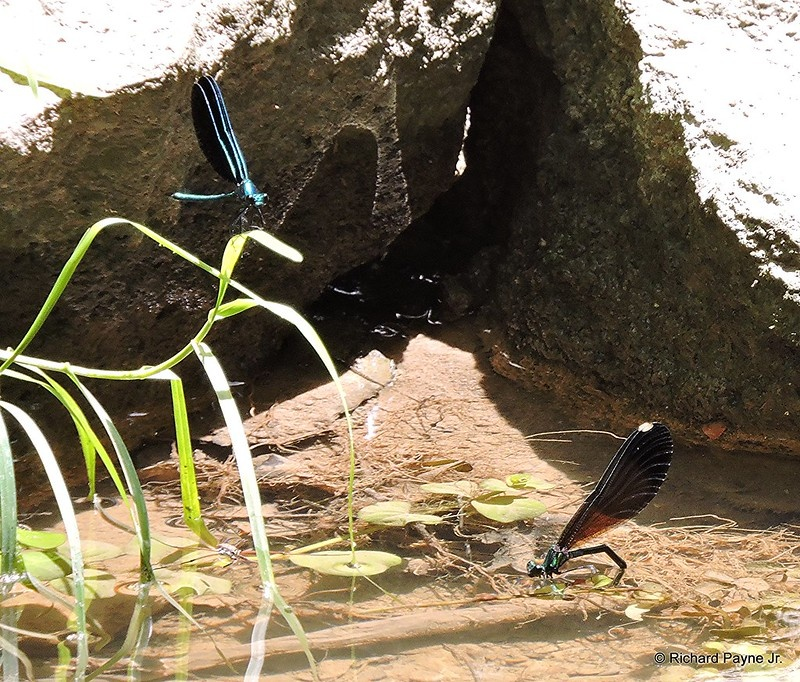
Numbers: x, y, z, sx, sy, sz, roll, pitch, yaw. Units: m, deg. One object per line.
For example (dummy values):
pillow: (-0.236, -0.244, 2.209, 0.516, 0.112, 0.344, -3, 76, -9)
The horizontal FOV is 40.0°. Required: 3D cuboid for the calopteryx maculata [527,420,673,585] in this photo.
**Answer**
calopteryx maculata: (0.582, 0.476, 3.143, 0.333, 0.202, 0.396, -20, -27, 0)
